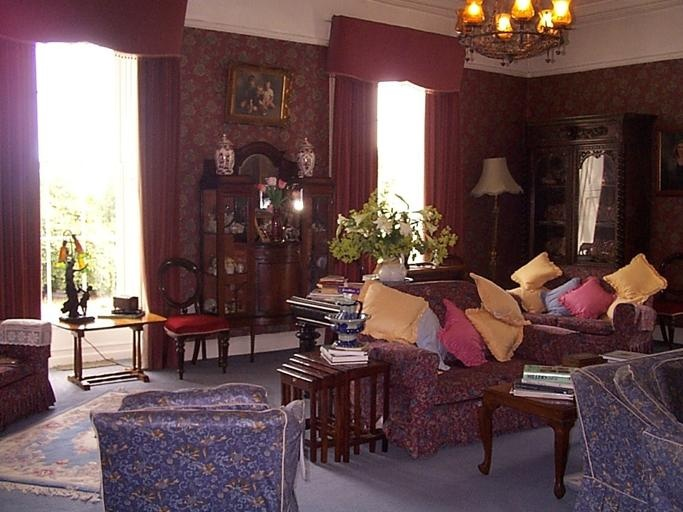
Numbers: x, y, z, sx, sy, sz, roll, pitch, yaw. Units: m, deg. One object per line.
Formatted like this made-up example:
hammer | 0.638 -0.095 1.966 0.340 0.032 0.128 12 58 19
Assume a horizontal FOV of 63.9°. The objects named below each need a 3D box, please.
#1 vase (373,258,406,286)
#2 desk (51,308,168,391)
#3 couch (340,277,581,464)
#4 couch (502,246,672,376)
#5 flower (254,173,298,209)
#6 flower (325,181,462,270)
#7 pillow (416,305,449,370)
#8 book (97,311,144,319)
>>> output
vase | 0.433 0.145 4.818 0.207 0.221 0.220 1 -2 6
desk | -2.344 0.931 5.558 1.178 0.818 0.670 -2 4 -43
couch | 0.901 0.477 4.222 1.687 1.320 1.076 -3 2 -33
couch | 2.416 0.207 5.632 0.932 1.308 1.685 3 -3 -42
flower | -0.752 -0.757 6.595 0.399 0.392 0.394 -1 1 5
flower | 0.516 -0.213 5.144 1.157 0.930 1.154 -3 8 -39
pillow | 0.707 0.655 4.388 0.110 0.410 0.368 -15 -35 32
book | -2.213 0.600 5.514 0.448 0.066 0.192 -1 4 -22
